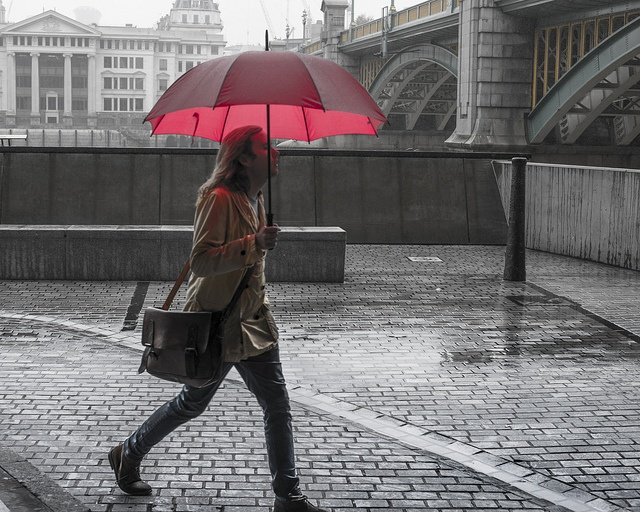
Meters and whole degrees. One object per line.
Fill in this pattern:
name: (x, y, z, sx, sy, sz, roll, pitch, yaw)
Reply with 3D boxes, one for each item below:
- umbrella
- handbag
umbrella: (-0.220, -0.645, 4.583, 1.138, 1.017, 1.061, 5, -7, -31)
handbag: (-0.745, 0.475, 4.056, 0.480, 0.381, 0.155, 5, 9, 23)
